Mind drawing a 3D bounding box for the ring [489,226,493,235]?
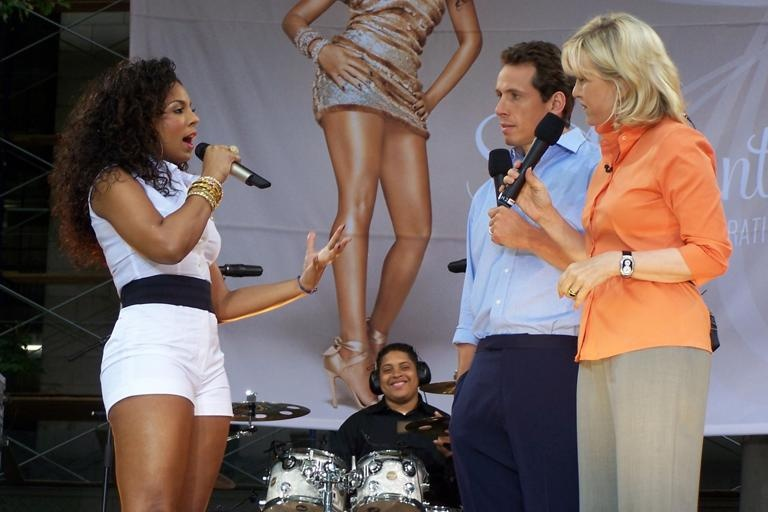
[{"bbox_3d":[0.484,-0.110,3.874,0.006,0.030,0.030,-12,-45,12],"label":"ring"}]

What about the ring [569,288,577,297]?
[{"bbox_3d":[0.769,0.150,3.480,0.025,0.024,0.027,3,-9,0],"label":"ring"}]

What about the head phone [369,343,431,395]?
[{"bbox_3d":[0.095,0.804,5.983,0.290,0.279,0.129,-5,-22,-2],"label":"head phone"}]

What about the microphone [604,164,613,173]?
[{"bbox_3d":[0.950,-0.371,3.615,0.024,0.034,0.028,-9,-5,5],"label":"microphone"}]

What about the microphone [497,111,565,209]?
[{"bbox_3d":[0.688,-0.461,3.937,0.158,0.656,0.172,27,-5,16],"label":"microphone"}]

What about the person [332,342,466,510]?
[{"bbox_3d":[0.125,1.131,6.185,0.801,1.152,1.034,1,1,5],"label":"person"}]
